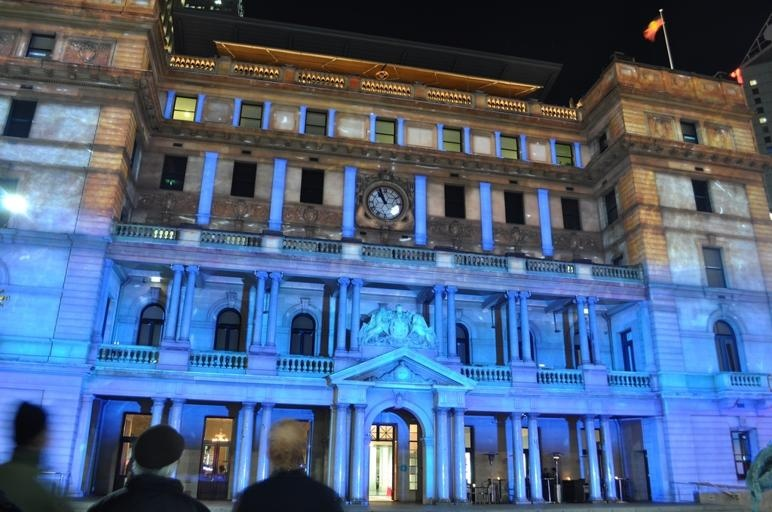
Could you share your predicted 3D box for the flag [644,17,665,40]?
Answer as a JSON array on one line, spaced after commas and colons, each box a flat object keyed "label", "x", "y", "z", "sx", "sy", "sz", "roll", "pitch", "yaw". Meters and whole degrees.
[{"label": "flag", "x": 19.687, "y": -16.606, "z": 52.009, "sx": 1.031, "sy": 1.839, "sz": 1.052, "roll": 10, "pitch": -26, "yaw": -18}]

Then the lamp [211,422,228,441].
[{"label": "lamp", "x": -9.575, "y": 9.970, "z": 40.594, "sx": 1.209, "sy": 0.972, "sz": 0.266, "roll": 2, "pitch": -4, "yaw": -6}]

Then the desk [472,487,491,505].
[{"label": "desk", "x": 5.590, "y": 13.885, "z": 41.224, "sx": 0.814, "sy": 0.964, "sz": 0.861, "roll": -16, "pitch": -29, "yaw": 34}]
